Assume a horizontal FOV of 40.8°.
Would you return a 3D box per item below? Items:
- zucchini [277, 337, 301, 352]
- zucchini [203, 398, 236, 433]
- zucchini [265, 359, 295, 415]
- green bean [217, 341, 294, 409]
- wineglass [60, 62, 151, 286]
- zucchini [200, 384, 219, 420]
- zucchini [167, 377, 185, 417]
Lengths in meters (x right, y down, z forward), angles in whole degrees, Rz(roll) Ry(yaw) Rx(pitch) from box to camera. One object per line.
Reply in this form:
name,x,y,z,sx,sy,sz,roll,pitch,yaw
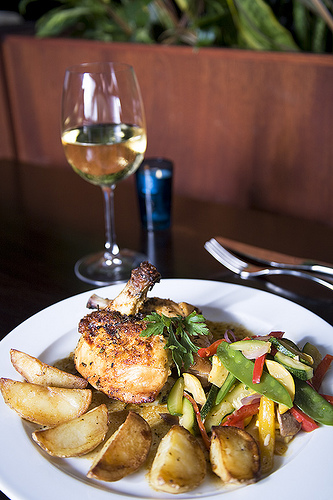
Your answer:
zucchini,0.209,0.159,0.757,0.029,0.008,0.029,31,10,-24
zucchini,0.083,0.258,0.695,0.051,0.011,0.028,-45,42,-20
zucchini,0.168,0.209,0.668,0.037,0.051,0.058,-5,21,-16
green bean,0.132,0.189,0.674,0.044,0.021,0.146,-25,31,-18
wineglass,-0.151,-0.136,1.151,0.197,0.624,0.220,14,27,39
zucchini,0.067,0.239,0.704,0.015,0.006,0.059,24,33,11
zucchini,0.015,0.233,0.725,0.029,0.085,0.014,6,29,-2
